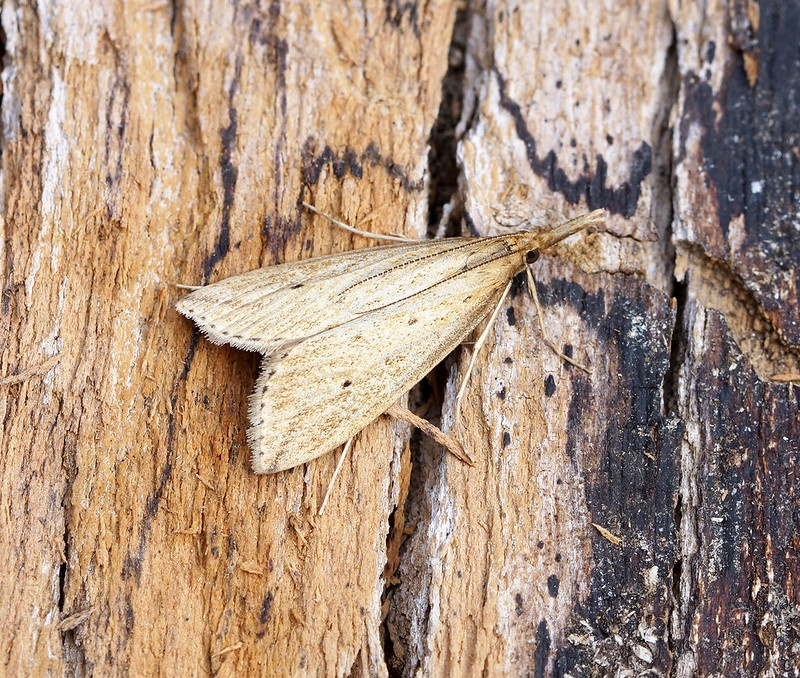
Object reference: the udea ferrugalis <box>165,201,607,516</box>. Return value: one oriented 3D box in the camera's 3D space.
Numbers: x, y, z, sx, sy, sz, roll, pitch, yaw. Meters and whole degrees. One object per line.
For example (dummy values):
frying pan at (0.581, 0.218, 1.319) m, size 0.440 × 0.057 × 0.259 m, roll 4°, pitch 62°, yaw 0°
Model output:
udea ferrugalis at (-0.150, 0.010, 4.522) m, size 1.281 × 0.885 × 0.230 m, roll 10°, pitch -3°, yaw -10°
